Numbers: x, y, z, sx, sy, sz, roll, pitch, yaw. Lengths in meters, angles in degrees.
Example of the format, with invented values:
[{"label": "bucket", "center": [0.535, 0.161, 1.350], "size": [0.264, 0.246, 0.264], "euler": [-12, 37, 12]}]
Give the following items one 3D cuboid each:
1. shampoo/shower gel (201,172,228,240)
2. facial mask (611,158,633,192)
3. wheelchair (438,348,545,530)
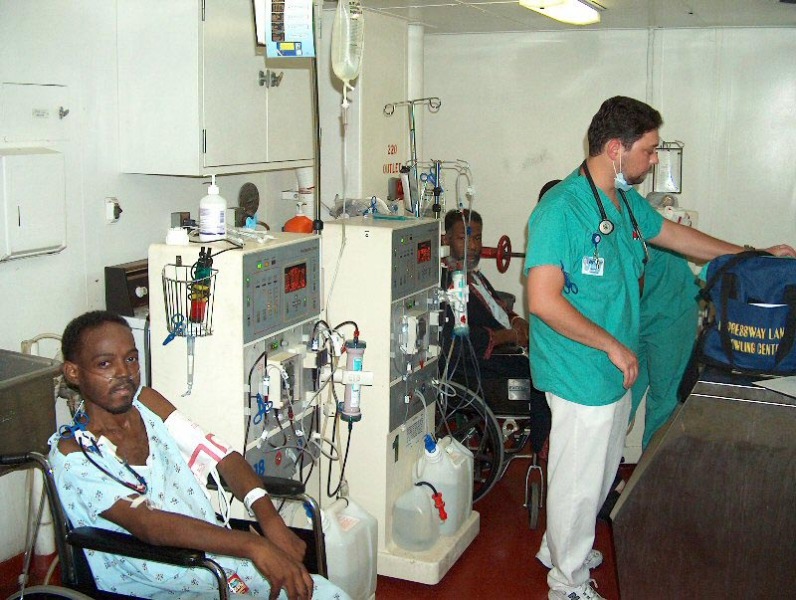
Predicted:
[{"label": "shampoo/shower gel", "center": [-0.736, -0.349, 2.646], "size": [0.111, 0.211, 0.183], "euler": [-4, 9, -18]}, {"label": "facial mask", "center": [0.944, -0.529, 2.826], "size": [0.055, 0.113, 0.102], "euler": [-6, 1, 25]}, {"label": "wheelchair", "center": [0.459, 0.722, 3.953], "size": [0.775, 1.160, 0.758], "euler": [0, 1, 16]}]
